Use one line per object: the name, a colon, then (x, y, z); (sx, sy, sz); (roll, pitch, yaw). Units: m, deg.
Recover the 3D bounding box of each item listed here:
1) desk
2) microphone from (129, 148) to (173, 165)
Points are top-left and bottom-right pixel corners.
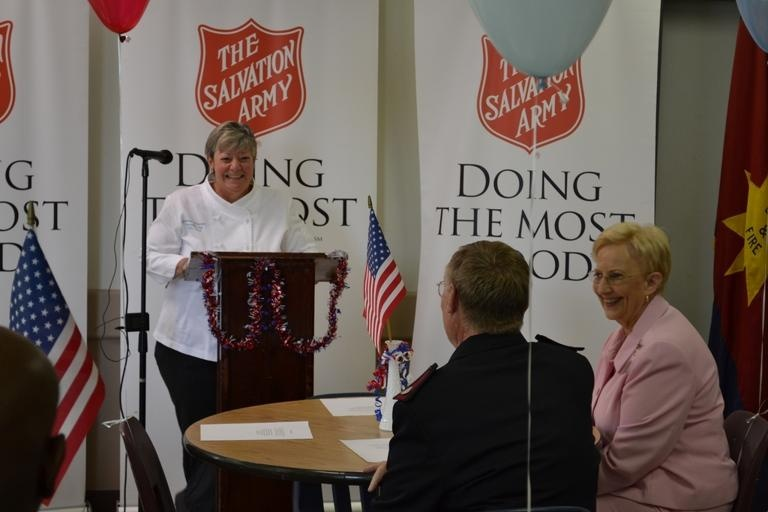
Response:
desk: (-0.422, 0.818, 3.899); (0.902, 0.282, 0.747); (0, -5, 5)
microphone: (-1.331, -0.599, 5.141); (0.116, 0.128, 0.326); (-1, 2, 33)
